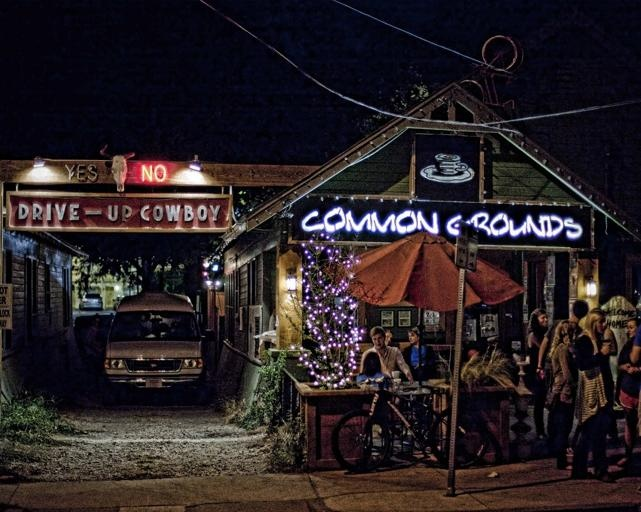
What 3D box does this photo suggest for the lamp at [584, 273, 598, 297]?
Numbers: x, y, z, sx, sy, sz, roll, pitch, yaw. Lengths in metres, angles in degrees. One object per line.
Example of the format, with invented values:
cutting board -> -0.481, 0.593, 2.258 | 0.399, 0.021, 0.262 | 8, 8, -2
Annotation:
lamp -> 5.995, 0.666, 20.419 | 0.359, 0.675, 0.363 | -1, -2, 20

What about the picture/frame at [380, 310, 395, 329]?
picture/frame -> 1.474, 1.409, 20.892 | 0.392, 0.463, 0.046 | 3, -6, -24

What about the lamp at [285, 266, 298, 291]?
lamp -> -0.630, 0.456, 18.655 | 0.185, 0.483, 0.461 | 0, 0, -21

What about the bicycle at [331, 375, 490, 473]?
bicycle -> 1.342, 2.748, 15.252 | 2.504, 1.409, 1.261 | 1, -4, -14

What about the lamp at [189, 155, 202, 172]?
lamp -> -2.567, -1.884, 18.855 | 0.249, 0.349, 0.363 | 0, 0, 4

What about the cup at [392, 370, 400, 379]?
cup -> 1.236, 1.943, 15.200 | 0.104, 0.106, 0.108 | 0, -1, 0

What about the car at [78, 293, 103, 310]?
car -> -18.514, 3.628, 73.798 | 1.599, 1.435, 1.973 | 0, 0, -4

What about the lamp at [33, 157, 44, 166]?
lamp -> -5.612, -1.851, 18.227 | 0.186, 0.184, 0.049 | 5, 0, -13

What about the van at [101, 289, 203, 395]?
van -> -4.029, 2.106, 21.890 | 2.122, 1.976, 3.802 | 1, -8, -9
